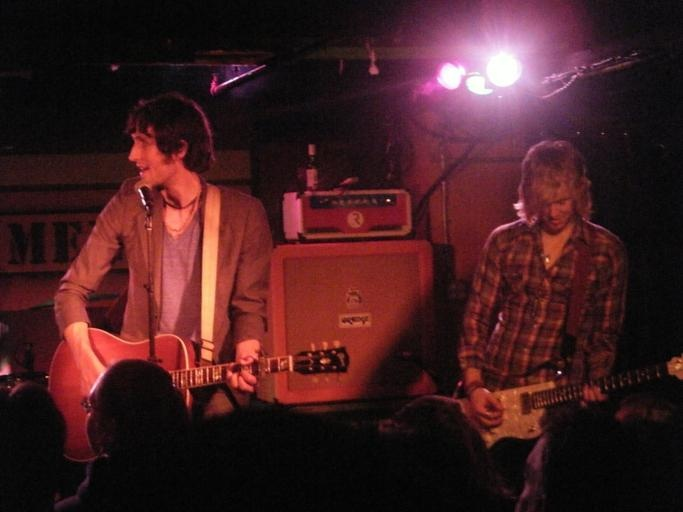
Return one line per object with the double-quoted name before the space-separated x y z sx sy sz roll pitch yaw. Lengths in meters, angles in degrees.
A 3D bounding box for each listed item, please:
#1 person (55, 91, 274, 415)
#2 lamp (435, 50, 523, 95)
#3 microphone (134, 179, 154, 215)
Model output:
"person" -0.870 0.336 3.239 1.084 2.099 0.789 0 18 -14
"lamp" 0.843 -1.083 3.817 0.501 0.173 0.257 0 -2 39
"microphone" -0.958 -0.290 3.096 0.080 0.198 0.300 2 -2 -19
